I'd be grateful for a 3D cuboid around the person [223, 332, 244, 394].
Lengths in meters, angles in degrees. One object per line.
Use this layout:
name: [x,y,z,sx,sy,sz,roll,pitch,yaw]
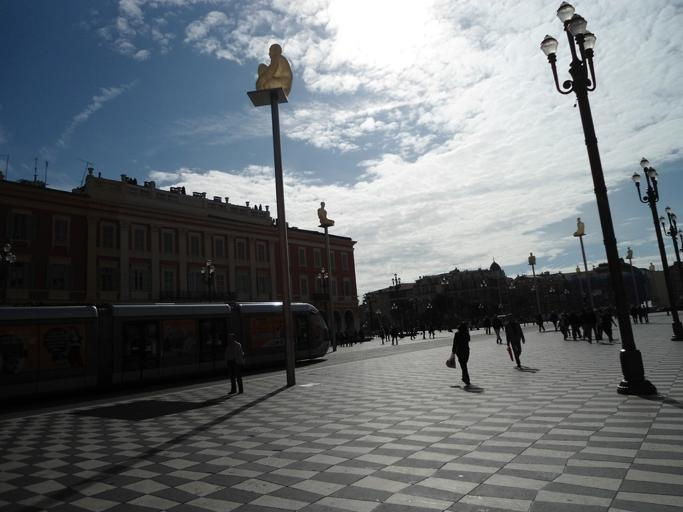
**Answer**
person: [-3.410,3.374,14.408,0.485,1.825,1.124,-4,-7,-15]
